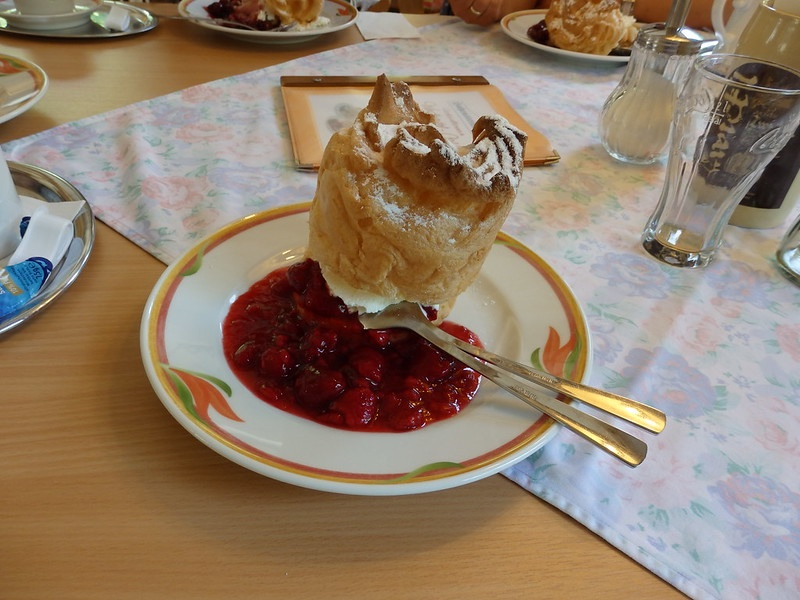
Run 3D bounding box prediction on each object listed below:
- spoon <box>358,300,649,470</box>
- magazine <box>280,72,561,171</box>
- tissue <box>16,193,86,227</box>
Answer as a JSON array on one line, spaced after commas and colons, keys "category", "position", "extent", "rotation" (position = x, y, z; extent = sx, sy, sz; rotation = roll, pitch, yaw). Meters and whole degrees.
[{"category": "spoon", "position": [0.152, 0.142, 1.271], "extent": [0.210, 0.031, 0.679], "rotation": [-33, 43, -31]}, {"category": "magazine", "position": [-0.015, -0.618, 2.033], "extent": [0.577, 0.047, 0.545], "rotation": [-1, 41, -24]}, {"category": "tissue", "position": [-0.784, -0.187, 1.431], "extent": [0.108, 0.020, 0.082], "rotation": [13, 30, -12]}]
